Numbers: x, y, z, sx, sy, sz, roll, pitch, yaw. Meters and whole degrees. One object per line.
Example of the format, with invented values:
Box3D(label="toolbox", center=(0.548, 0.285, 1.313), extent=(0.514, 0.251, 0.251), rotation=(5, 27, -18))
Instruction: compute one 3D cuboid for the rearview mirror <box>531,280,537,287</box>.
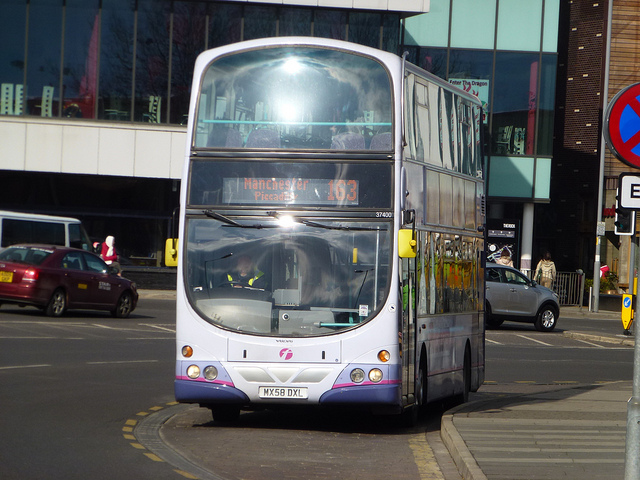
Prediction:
Box3D(label="rearview mirror", center=(6.962, 1.356, 30.210), extent=(0.193, 0.179, 0.303), rotation=(0, 16, 11))

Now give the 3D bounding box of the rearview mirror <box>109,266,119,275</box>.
Box3D(label="rearview mirror", center=(-5.790, 0.828, 26.134), extent=(0.155, 0.188, 0.574), rotation=(2, 1, 9))

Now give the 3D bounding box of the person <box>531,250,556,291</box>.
Box3D(label="person", center=(8.949, 1.406, 37.192), extent=(0.868, 2.144, 0.596), rotation=(3, 15, 10))

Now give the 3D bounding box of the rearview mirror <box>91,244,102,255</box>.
Box3D(label="rearview mirror", center=(-7.303, 0.256, 30.496), extent=(0.264, 0.410, 0.391), rotation=(1, -8, -1))

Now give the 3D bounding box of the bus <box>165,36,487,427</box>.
Box3D(label="bus", center=(0.460, -0.096, 13.629), extent=(5.078, 5.665, 2.908), rotation=(1, 1, -41))

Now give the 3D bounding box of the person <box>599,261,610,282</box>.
Box3D(label="person", center=(13.847, 1.506, 45.462), extent=(0.667, 0.893, 0.932), rotation=(-1, -14, 12))

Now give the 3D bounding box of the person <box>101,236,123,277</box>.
Box3D(label="person", center=(-7.020, 0.712, 31.399), extent=(0.740, 1.721, 0.626), rotation=(-1, -2, 4))
